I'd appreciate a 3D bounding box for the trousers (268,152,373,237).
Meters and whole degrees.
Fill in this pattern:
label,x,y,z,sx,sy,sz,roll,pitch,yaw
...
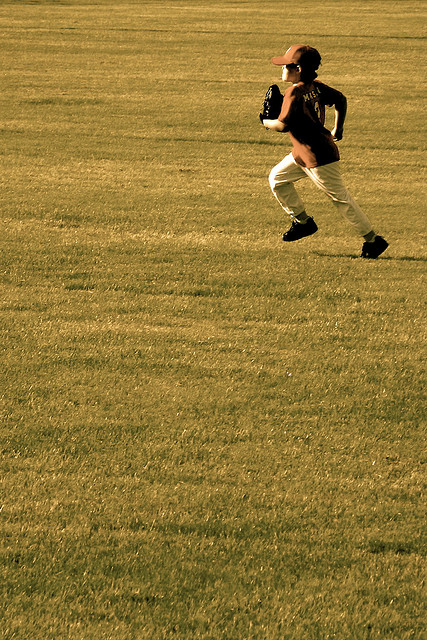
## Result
label,x,y,z,sx,sy,sz,roll,pitch,yaw
trousers,0.984,-1.304,12.283,0.944,0.908,0.648,-7,45,2

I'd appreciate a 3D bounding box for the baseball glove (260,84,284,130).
label,x,y,z,sx,sy,sz,roll,pitch,yaw
baseball glove,0.549,-1.896,11.859,0.105,0.326,0.175,10,0,-36
